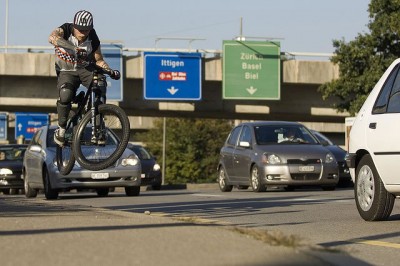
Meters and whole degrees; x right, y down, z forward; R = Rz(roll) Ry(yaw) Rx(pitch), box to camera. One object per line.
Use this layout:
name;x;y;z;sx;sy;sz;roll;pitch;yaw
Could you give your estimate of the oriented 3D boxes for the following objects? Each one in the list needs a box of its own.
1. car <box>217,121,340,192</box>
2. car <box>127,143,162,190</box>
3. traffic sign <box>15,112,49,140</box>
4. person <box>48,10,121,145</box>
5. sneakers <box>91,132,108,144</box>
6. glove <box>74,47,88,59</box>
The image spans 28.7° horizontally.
car;2.144;0.731;22.492;2.077;2.077;3.414;-3;5;-36
car;-1.920;1.216;28.754;1.077;0.950;1.887;1;-6;-7
traffic sign;-9.172;-0.482;42.201;1.837;1.435;0.248;0;-1;-15
person;-2.499;-1.117;16.291;1.216;2.837;1.293;0;4;-6
sneakers;-2.066;0.094;16.048;0.287;0.255;0.234;20;5;13
glove;-2.384;-1.622;15.693;0.256;0.219;0.160;-1;4;-15
